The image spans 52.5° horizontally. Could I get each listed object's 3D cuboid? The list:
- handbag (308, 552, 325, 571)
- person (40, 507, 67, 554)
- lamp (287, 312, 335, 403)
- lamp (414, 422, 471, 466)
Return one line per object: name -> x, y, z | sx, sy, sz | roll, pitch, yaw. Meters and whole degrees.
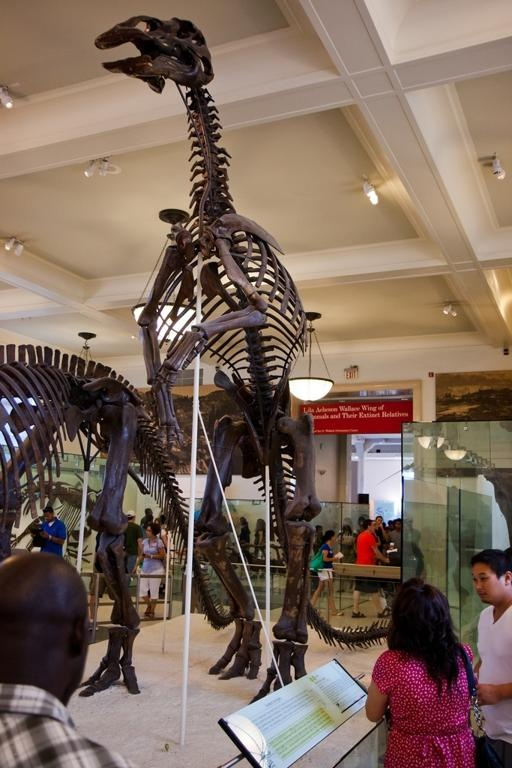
handbag -> 0.816, 2.429, 7.010 | 0.166, 0.300, 0.319 | 0, -7, 3
person -> -2.593, 1.904, 6.538 | 0.312, 0.678, 1.035 | 4, -7, -22
lamp -> 0.957, -0.491, 9.282 | 0.899, 1.634, 0.919 | -8, -16, 39
lamp -> 1.767, 0.570, 4.872 | 0.483, 0.349, 0.081 | 0, -7, 4
